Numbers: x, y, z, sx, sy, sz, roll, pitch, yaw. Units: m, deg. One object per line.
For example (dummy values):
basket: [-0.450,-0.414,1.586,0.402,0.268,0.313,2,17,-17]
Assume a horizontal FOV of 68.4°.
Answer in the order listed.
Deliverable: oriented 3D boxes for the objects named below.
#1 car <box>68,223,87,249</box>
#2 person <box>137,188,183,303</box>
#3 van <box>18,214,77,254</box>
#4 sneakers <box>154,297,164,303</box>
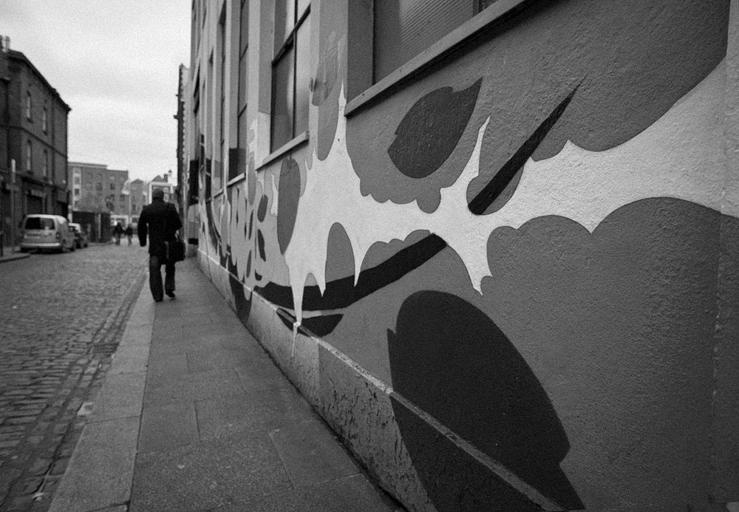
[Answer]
car: [-15.483,-0.991,29.081,0.889,1.065,2.152,-5,21,-24]
person: [-3.403,-0.132,8.975,0.660,1.905,1.492,-1,7,-21]
van: [-14.224,-0.987,24.205,1.373,1.370,2.773,-1,12,-25]
sneakers: [-3.434,0.732,8.957,0.123,0.141,0.081,0,7,-6]
